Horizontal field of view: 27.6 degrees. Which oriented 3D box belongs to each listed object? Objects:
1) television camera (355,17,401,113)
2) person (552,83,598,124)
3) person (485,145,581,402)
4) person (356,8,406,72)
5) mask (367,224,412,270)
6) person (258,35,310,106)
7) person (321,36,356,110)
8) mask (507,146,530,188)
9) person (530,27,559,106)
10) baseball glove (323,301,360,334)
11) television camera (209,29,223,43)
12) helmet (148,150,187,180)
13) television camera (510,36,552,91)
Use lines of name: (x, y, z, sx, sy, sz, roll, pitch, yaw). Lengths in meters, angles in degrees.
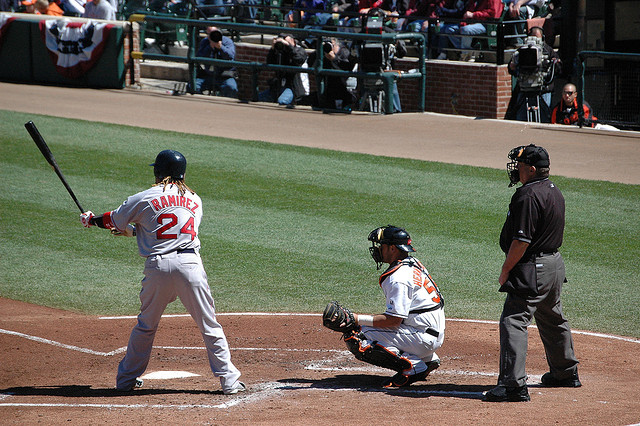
television camera: (1.110, -3.103, 27.379, 0.783, 1.999, 0.789, 10, 11, 36)
person: (5.181, -2.189, 26.214, 0.867, 0.815, 0.974, 3, 8, 5)
person: (3.014, 0.829, 17.852, 1.142, 3.445, 0.826, 4, 9, 7)
person: (1.288, -3.638, 27.614, 1.029, 1.319, 1.574, 3, 8, 3)
mask: (0.996, 0.497, 18.195, 0.758, 0.575, 0.509, 7, 9, 18)
person: (-0.746, -3.110, 28.400, 1.170, 1.529, 0.833, 5, 9, 17)
person: (0.376, -2.966, 27.795, 0.808, 1.476, 0.539, 1, 9, -11)
mask: (2.751, -0.650, 18.156, 0.280, 0.571, 0.449, 3, 8, 2)
person: (4.667, -3.014, 26.784, 0.544, 1.514, 1.386, 6, 9, 18)
baseball glove: (0.229, 1.463, 18.182, 0.583, 0.319, 0.270, 24, -10, -20)
television camera: (-2.340, -3.889, 28.619, 0.313, 0.241, 0.266, -3, 4, -7)
helmet: (-2.150, -0.710, 18.197, 0.481, 0.334, 0.669, -14, 24, -41)
television camera: (4.450, -2.936, 26.450, 0.868, 1.018, 0.924, 1, -6, 29)
